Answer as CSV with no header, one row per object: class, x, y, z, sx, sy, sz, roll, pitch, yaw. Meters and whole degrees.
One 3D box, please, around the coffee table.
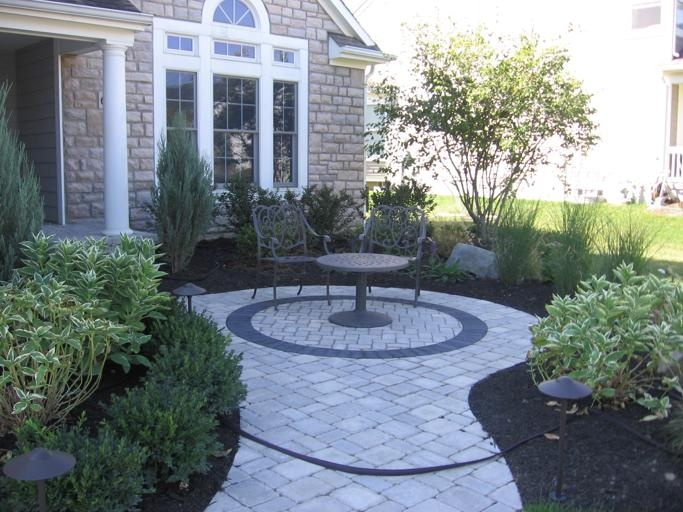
coffee table,0.197,0.343,6.760,0.919,0.617,0.909,-4,7,-32
